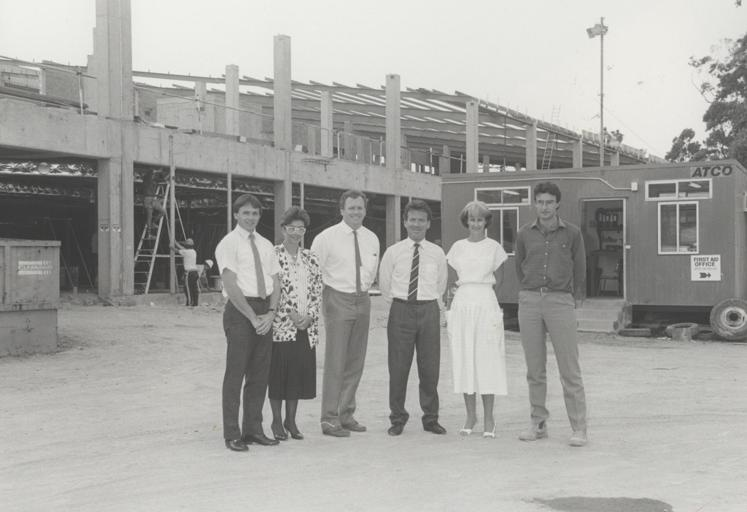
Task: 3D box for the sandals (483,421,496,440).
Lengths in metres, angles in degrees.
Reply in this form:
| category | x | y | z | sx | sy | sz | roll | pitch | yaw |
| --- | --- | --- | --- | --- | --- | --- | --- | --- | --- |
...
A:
| category | x | y | z | sx | sy | sz | roll | pitch | yaw |
| --- | --- | --- | --- | --- | --- | --- | --- | --- | --- |
| sandals | 1.408 | 2.127 | 12.047 | 0.079 | 0.097 | 0.245 | 3 | 6 | 20 |

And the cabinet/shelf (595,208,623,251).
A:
| category | x | y | z | sx | sy | sz | roll | pitch | yaw |
| --- | --- | --- | --- | --- | --- | --- | --- | --- | --- |
| cabinet/shelf | 5.677 | -0.648 | 24.010 | 0.646 | 0.886 | 0.302 | 1 | 0 | 3 |

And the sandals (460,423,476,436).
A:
| category | x | y | z | sx | sy | sz | roll | pitch | yaw |
| --- | --- | --- | --- | --- | --- | --- | --- | --- | --- |
| sandals | 1.161 | 2.126 | 12.271 | 0.190 | 0.110 | 0.309 | 1 | 0 | 7 |

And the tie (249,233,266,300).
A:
| category | x | y | z | sx | sy | sz | roll | pitch | yaw |
| --- | --- | --- | --- | --- | --- | --- | --- | --- | --- |
| tie | -1.342 | 0.169 | 11.688 | 0.123 | 0.899 | 0.091 | -7 | -23 | -10 |

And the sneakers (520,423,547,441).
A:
| category | x | y | z | sx | sy | sz | roll | pitch | yaw |
| --- | --- | --- | --- | --- | --- | --- | --- | --- | --- |
| sneakers | 1.938 | 2.115 | 11.935 | 0.395 | 0.283 | 0.161 | 3 | -2 | -14 |

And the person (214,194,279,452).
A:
| category | x | y | z | sx | sy | sz | roll | pitch | yaw |
| --- | --- | --- | --- | --- | --- | --- | --- | --- | --- |
| person | -1.448 | 0.757 | 11.685 | 0.755 | 2.079 | 0.505 | 1 | 1 | -27 |

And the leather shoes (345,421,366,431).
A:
| category | x | y | z | sx | sy | sz | roll | pitch | yaw |
| --- | --- | --- | --- | --- | --- | --- | --- | --- | --- |
| leather shoes | -0.232 | 2.124 | 12.376 | 0.289 | 0.120 | 0.110 | 1 | 0 | 10 |

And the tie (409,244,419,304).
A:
| category | x | y | z | sx | sy | sz | roll | pitch | yaw |
| --- | --- | --- | --- | --- | --- | --- | --- | --- | --- |
| tie | 0.506 | 0.202 | 12.388 | 0.136 | 0.566 | 0.162 | 1 | 1 | 1 |

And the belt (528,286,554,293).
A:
| category | x | y | z | sx | sy | sz | roll | pitch | yaw |
| --- | --- | --- | --- | --- | --- | --- | --- | --- | --- |
| belt | 2.031 | 0.406 | 12.055 | 0.304 | 0.068 | 0.035 | 1 | 0 | 25 |

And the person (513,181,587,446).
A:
| category | x | y | z | sx | sy | sz | roll | pitch | yaw |
| --- | --- | --- | --- | --- | --- | --- | --- | --- | --- |
| person | 2.158 | 0.665 | 12.038 | 0.928 | 2.702 | 0.757 | 1 | 1 | 12 |

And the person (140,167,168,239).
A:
| category | x | y | z | sx | sy | sz | roll | pitch | yaw |
| --- | --- | --- | --- | --- | --- | --- | --- | --- | --- |
| person | -6.178 | -1.597 | 28.062 | 0.555 | 1.641 | 1.196 | 1 | 0 | -14 |

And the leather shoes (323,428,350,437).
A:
| category | x | y | z | sx | sy | sz | roll | pitch | yaw |
| --- | --- | --- | --- | --- | --- | --- | --- | --- | --- |
| leather shoes | -0.453 | 2.156 | 12.123 | 0.231 | 0.087 | 0.124 | -3 | -4 | 22 |

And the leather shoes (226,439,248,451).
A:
| category | x | y | z | sx | sy | sz | roll | pitch | yaw |
| --- | --- | --- | --- | --- | --- | --- | --- | --- | --- |
| leather shoes | -1.552 | 2.181 | 11.457 | 0.222 | 0.096 | 0.115 | -3 | 0 | 39 |

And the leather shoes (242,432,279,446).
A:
| category | x | y | z | sx | sy | sz | roll | pitch | yaw |
| --- | --- | --- | --- | --- | --- | --- | --- | --- | --- |
| leather shoes | -1.314 | 2.170 | 11.770 | 0.421 | 0.158 | 0.153 | -2 | 0 | 8 |

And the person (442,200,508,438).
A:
| category | x | y | z | sx | sy | sz | roll | pitch | yaw |
| --- | --- | --- | --- | --- | --- | --- | --- | --- | --- |
| person | 1.268 | 0.761 | 12.245 | 0.777 | 2.340 | 0.422 | 1 | 1 | 15 |

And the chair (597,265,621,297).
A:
| category | x | y | z | sx | sy | sz | roll | pitch | yaw |
| --- | --- | --- | --- | --- | --- | --- | --- | --- | --- |
| chair | 5.690 | 0.621 | 24.036 | 0.669 | 0.869 | 0.618 | -2 | -8 | 33 |
